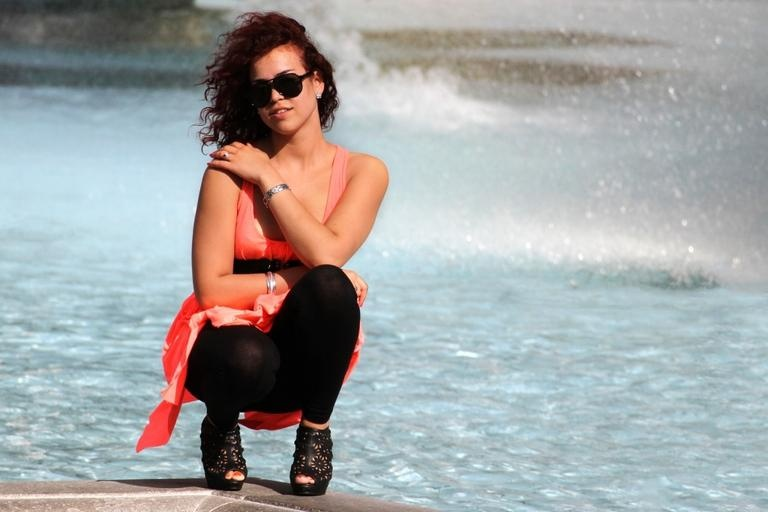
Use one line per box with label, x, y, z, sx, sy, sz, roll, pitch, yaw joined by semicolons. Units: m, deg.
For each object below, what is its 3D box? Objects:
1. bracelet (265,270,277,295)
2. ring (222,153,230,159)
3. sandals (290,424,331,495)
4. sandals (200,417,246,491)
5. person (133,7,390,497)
bracelet;-0.635;0.150;7.031;0.066;0.116;0.139;-1;3;-1
ring;-0.884;-0.552;7.037;0.048;0.032;0.009;0;-11;-6
sandals;-0.396;1.098;6.938;0.221;0.354;0.195;9;16;-5
sandals;-0.879;1.063;6.930;0.200;0.347;0.306;0;18;-34
person;-0.594;-0.048;7.052;1.093;2.536;1.159;9;16;-8
